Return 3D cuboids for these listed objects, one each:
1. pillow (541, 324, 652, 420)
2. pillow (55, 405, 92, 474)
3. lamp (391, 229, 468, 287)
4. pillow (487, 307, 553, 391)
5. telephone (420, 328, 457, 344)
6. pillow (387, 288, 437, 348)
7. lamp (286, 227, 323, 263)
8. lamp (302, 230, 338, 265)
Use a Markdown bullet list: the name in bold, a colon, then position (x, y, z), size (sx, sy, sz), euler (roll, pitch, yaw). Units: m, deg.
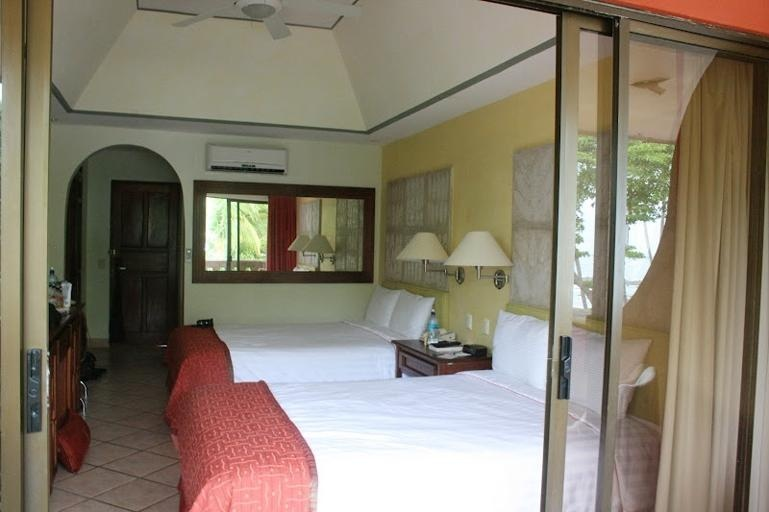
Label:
- **pillow**: position (1.138, 0.599, 2.959), size (0.462, 0.466, 0.141), euler (3, -1, 1)
- **pillow**: position (-2.601, 1.545, 4.849), size (0.134, 0.149, 0.599), euler (3, 7, -21)
- **lamp**: position (0.438, 0.017, 5.902), size (0.585, 0.510, 0.510), euler (-1, -1, -22)
- **pillow**: position (1.050, 0.722, 4.478), size (0.180, 0.499, 0.722), euler (8, -1, -18)
- **telephone**: position (0.535, 0.759, 5.705), size (0.162, 0.068, 0.219), euler (-1, 1, -39)
- **pillow**: position (0.303, 0.663, 6.141), size (0.202, 0.377, 0.533), euler (37, -17, -22)
- **lamp**: position (-1.124, -0.213, 8.079), size (0.337, 0.301, 0.340), euler (2, -2, -33)
- **lamp**: position (-0.879, -0.126, 8.072), size (0.384, 0.374, 0.388), euler (1, 1, 38)
